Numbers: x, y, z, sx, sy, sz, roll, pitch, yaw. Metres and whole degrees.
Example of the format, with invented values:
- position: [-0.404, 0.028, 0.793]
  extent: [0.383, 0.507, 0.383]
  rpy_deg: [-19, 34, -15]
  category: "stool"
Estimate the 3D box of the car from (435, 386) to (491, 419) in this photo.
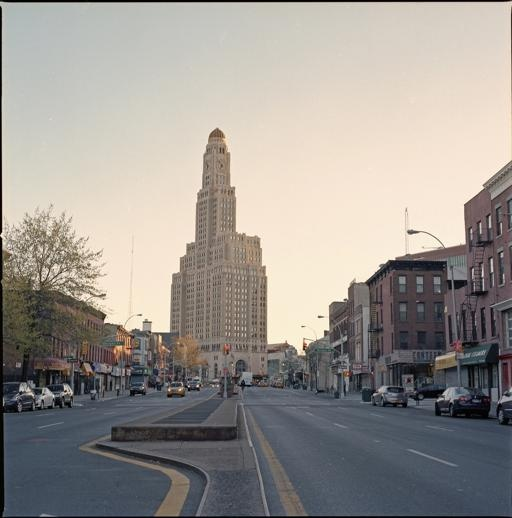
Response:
- position: [11.495, 8.001, 31.788]
  extent: [1.297, 1.389, 3.657]
  rpy_deg: [1, -10, -1]
  category: "car"

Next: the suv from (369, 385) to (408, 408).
- position: [11.214, 11.539, 46.890]
  extent: [1.228, 1.400, 3.238]
  rpy_deg: [1, -10, -4]
  category: "suv"

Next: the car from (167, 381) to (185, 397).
- position: [-9.580, 15.706, 66.943]
  extent: [1.902, 1.752, 3.081]
  rpy_deg: [1, -15, -11]
  category: "car"

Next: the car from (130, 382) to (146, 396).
- position: [-16.009, 17.560, 75.474]
  extent: [1.889, 1.735, 1.768]
  rpy_deg: [3, -14, -19]
  category: "car"

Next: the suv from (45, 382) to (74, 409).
- position: [-15.285, 10.688, 43.780]
  extent: [1.073, 1.238, 2.355]
  rpy_deg: [-2, -25, 2]
  category: "suv"

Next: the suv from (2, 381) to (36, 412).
- position: [-15.522, 8.913, 36.136]
  extent: [1.040, 1.956, 3.541]
  rpy_deg: [-1, -14, 1]
  category: "suv"
